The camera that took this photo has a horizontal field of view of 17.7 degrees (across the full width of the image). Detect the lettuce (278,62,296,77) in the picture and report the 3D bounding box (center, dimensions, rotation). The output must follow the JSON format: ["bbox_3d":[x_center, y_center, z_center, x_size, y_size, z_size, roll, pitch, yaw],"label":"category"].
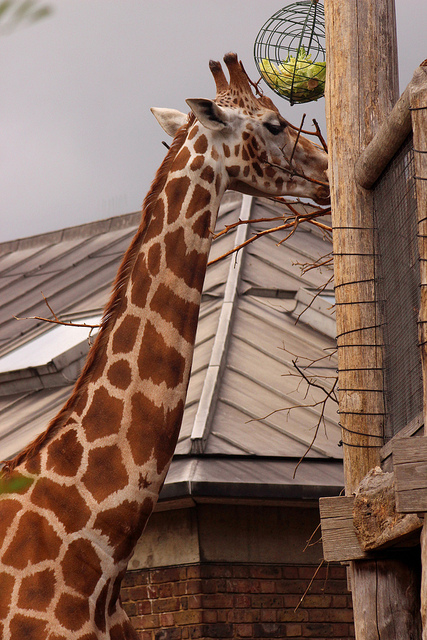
[{"bbox_3d":[0.388,-1.354,7.395,0.077,0.077,0.022,-12,-13,30],"label":"lettuce"}]
